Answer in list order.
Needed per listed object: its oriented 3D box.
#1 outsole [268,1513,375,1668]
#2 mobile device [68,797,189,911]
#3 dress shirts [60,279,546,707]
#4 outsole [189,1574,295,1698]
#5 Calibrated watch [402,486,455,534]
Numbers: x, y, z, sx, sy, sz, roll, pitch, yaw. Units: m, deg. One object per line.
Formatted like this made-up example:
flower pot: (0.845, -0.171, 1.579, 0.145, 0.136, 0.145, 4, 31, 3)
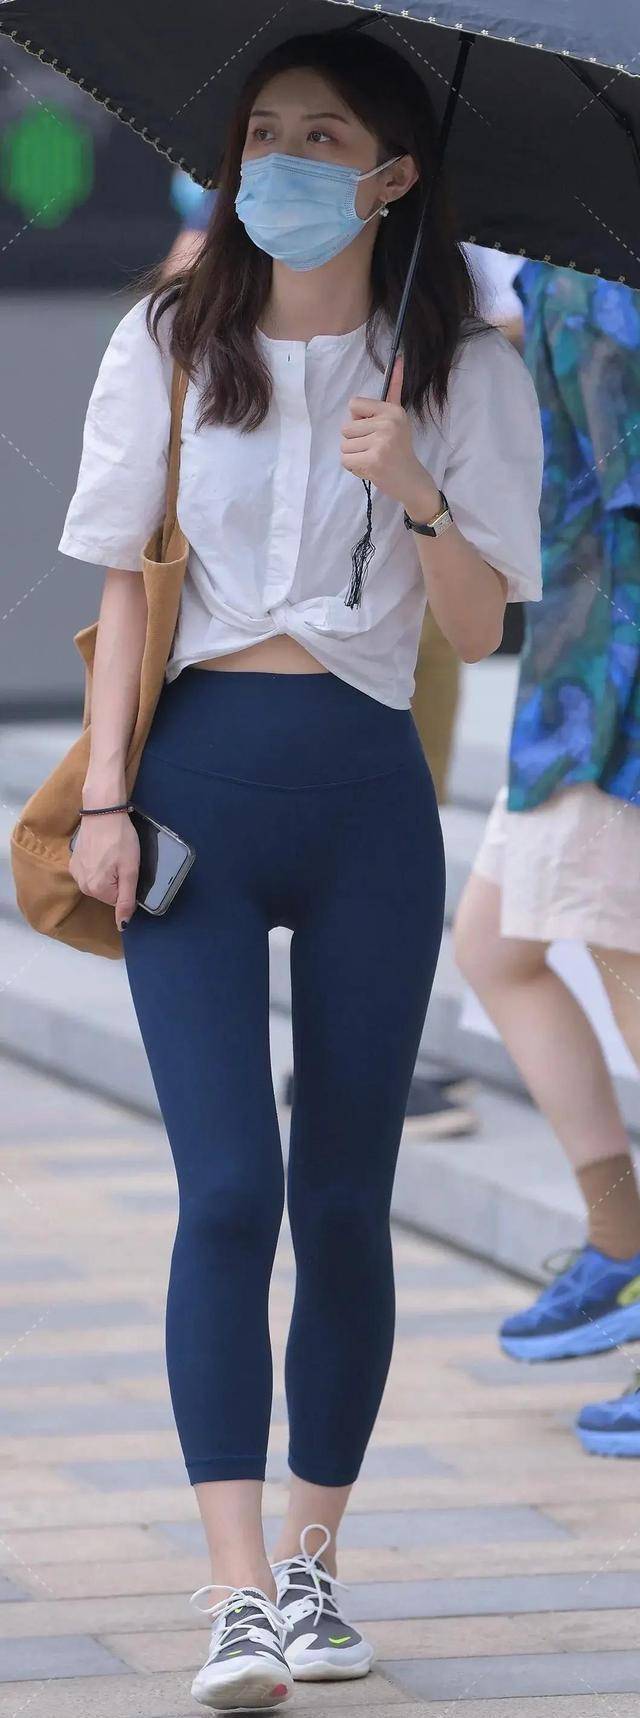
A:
outsole: (-0.015, 0.763, 1.402, 0.060, 0.185, 0.143, 10, 73, -22)
mobile device: (-0.173, -0.019, 1.258, 0.058, 0.074, 0.136, -34, 65, -30)
dress shirts: (-0.043, -0.390, 1.308, 0.397, 0.416, 0.186, 1, 39, -7)
outsole: (-0.070, 0.703, 1.200, 0.076, 0.242, 0.118, -1, 62, -2)
Calibrated watch: (0.095, -0.325, 1.219, 0.015, 0.042, 0.042, 30, 67, 36)
